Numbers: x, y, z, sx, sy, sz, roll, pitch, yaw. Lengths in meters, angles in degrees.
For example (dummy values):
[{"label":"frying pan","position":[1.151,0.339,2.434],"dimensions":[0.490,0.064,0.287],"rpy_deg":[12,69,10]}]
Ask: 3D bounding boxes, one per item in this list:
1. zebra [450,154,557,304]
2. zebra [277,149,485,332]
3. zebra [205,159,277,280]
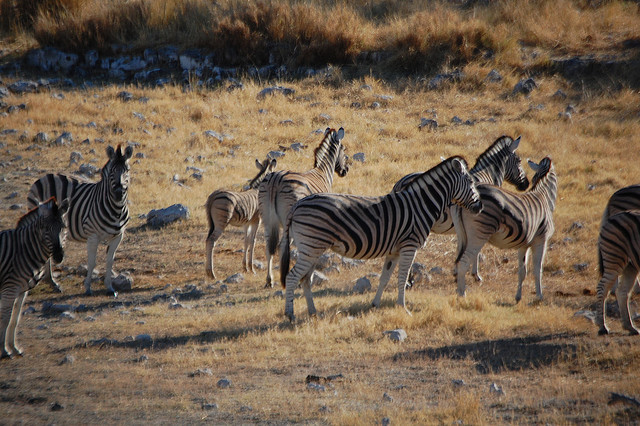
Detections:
[{"label":"zebra","position":[5.121,0.505,28.497],"dimensions":[3.471,3.662,1.154],"rpy_deg":[-2,-1,-34]},{"label":"zebra","position":[1.703,0.956,28.040],"dimensions":[4.122,3.837,1.385],"rpy_deg":[-1,-1,-8]},{"label":"zebra","position":[-2.333,0.334,30.091],"dimensions":[0.994,3.630,2.968],"rpy_deg":[2,5,35]}]
